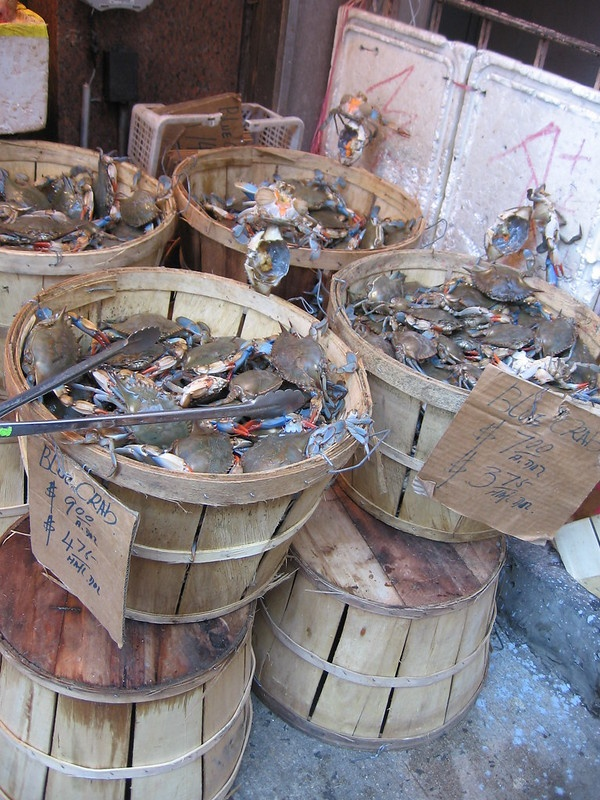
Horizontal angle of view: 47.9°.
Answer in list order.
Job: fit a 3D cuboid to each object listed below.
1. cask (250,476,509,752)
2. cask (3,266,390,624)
[{"bbox_3d":[0.311,0.856,2.691,0.914,0.634,0.845,8,21,6],"label":"cask"},{"bbox_3d":[-0.455,0.137,2.190,1.162,0.733,1.142,12,36,-17],"label":"cask"}]
